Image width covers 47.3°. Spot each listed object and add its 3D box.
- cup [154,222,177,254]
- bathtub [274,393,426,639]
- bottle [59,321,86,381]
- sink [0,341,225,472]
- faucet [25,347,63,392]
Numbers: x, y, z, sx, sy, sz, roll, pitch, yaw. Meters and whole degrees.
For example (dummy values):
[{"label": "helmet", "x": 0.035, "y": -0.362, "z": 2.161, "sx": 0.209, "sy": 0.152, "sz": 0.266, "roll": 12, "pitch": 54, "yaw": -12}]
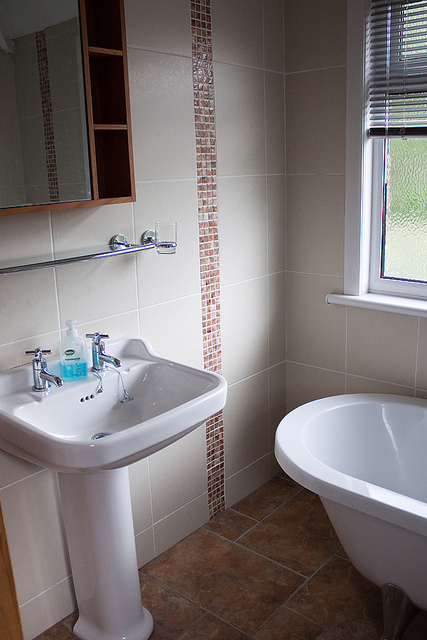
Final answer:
[{"label": "cup", "x": -0.160, "y": -0.270, "z": 1.605, "sx": 0.072, "sy": 0.103, "sz": 0.133, "roll": -3, "pitch": 9, "yaw": -8}, {"label": "bathtub", "x": 0.524, "y": 0.532, "z": 1.653, "sx": 0.712, "sy": 0.423, "sz": 0.539, "roll": 9, "pitch": 17, "yaw": 40}, {"label": "bottle", "x": -0.394, "y": 0.082, "z": 1.367, "sx": 0.073, "sy": 0.189, "sz": 0.044, "roll": -4, "pitch": 28, "yaw": -14}, {"label": "sink", "x": -0.258, "y": 0.223, "z": 1.294, "sx": 0.480, "sy": 0.199, "sz": 0.569, "roll": 6, "pitch": 12, "yaw": 39}, {"label": "faucet", "x": -0.434, "y": 0.141, "z": 1.269, "sx": 0.141, "sy": 0.118, "sz": 0.058, "roll": 9, "pitch": 8, "yaw": 39}]
